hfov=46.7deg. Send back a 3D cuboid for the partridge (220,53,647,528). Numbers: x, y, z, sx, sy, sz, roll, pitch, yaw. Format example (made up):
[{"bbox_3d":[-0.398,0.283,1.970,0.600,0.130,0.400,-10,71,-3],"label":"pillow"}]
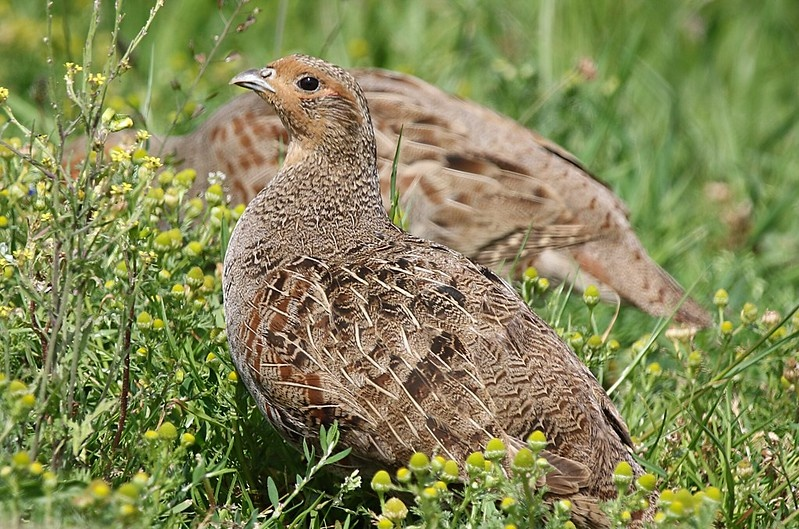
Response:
[{"bbox_3d":[-0.074,0.283,4.254,1.268,0.581,2.540,-32,65,-20],"label":"partridge"}]

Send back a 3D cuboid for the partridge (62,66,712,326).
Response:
[{"bbox_3d":[0.545,-0.498,6.487,2.094,4.968,2.417,5,94,11],"label":"partridge"}]
